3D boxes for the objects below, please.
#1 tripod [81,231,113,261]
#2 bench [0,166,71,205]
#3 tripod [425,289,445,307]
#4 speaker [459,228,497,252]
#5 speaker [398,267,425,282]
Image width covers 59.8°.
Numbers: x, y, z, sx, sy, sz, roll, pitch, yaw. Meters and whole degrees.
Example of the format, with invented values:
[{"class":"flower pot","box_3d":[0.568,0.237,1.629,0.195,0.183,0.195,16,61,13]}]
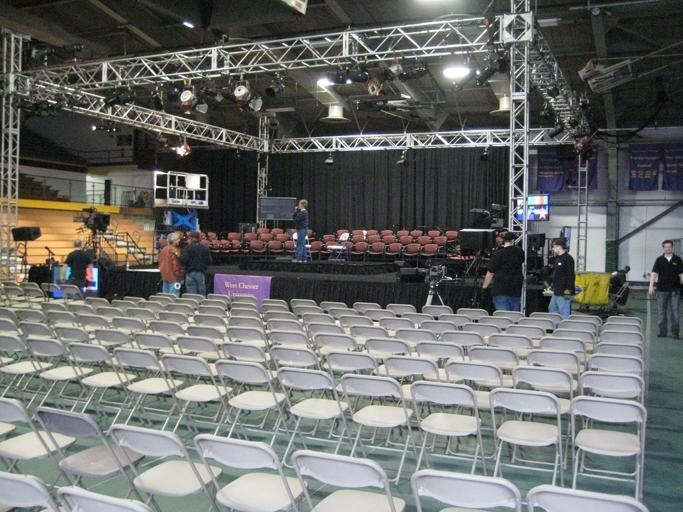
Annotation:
[{"class":"tripod","box_3d":[-7.037,-0.304,17.043,1.038,0.894,0.537,4,10,9]},{"class":"bench","box_3d":[-11.076,-2.500,21.799,1.414,0.987,3.235,0,2,-12]},{"class":"tripod","box_3d":[1.590,0.695,10.157,0.312,0.292,0.222,1,5,32]},{"class":"speaker","box_3d":[2.250,-0.246,9.825,0.752,0.471,0.391,2,9,25]},{"class":"speaker","box_3d":[1.428,0.366,11.981,0.382,0.129,0.394,-1,3,-18]}]
